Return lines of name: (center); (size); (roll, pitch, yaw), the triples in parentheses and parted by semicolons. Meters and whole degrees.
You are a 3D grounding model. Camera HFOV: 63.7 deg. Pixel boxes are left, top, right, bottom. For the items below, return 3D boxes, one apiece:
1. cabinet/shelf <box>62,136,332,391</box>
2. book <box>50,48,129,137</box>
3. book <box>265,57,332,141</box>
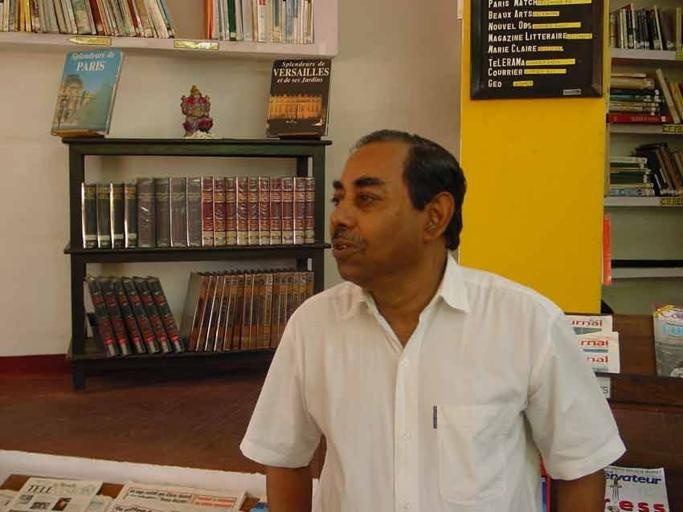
cabinet/shelf: (-0.856, 0.047, 3.073); (1.535, 1.428, 0.503); (0, 6, -10)
book: (-1.436, -0.922, 3.095); (0.341, 0.487, 0.253); (1, 10, 3)
book: (-0.202, -0.943, 3.512); (0.485, 0.456, 0.464); (0, -8, 4)
